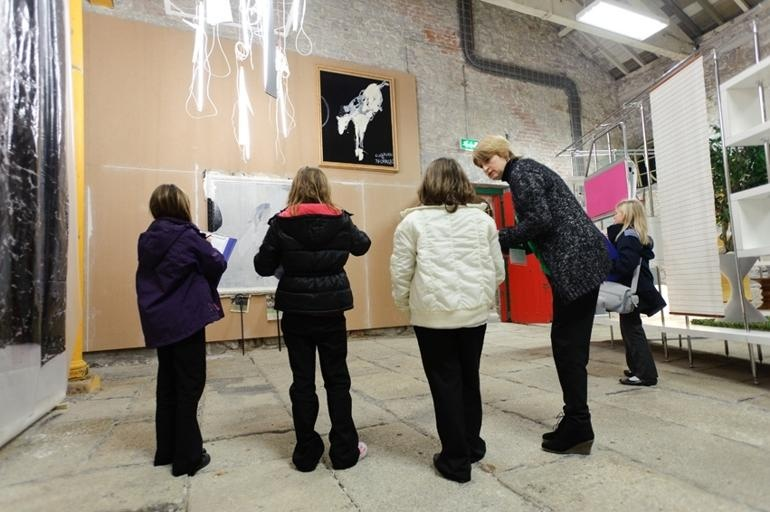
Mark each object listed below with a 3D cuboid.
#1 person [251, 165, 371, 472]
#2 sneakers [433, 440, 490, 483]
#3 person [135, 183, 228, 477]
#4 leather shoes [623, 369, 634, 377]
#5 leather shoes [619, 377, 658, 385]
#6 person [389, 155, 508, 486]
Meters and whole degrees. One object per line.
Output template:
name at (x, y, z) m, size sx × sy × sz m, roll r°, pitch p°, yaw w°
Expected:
person at (-0.500, 0.432, 3.570) m, size 0.779 × 2.134 × 0.504 m, roll -3°, pitch 8°, yaw -3°
sneakers at (0.502, 1.435, 3.520) m, size 0.150 × 0.191 × 0.490 m, roll 0°, pitch 1°, yaw -5°
person at (-1.516, 0.502, 3.655) m, size 0.548 × 2.059 × 0.547 m, roll 3°, pitch 10°, yaw 33°
leather shoes at (2.416, 1.172, 4.886) m, size 0.060 × 0.042 × 0.137 m, roll 1°, pitch 5°, yaw 3°
leather shoes at (2.421, 1.167, 4.701) m, size 0.311 × 0.092 × 0.129 m, roll 1°, pitch -3°, yaw 27°
person at (0.450, 0.393, 3.560) m, size 0.646 × 2.180 × 0.667 m, roll 5°, pitch 11°, yaw 40°
